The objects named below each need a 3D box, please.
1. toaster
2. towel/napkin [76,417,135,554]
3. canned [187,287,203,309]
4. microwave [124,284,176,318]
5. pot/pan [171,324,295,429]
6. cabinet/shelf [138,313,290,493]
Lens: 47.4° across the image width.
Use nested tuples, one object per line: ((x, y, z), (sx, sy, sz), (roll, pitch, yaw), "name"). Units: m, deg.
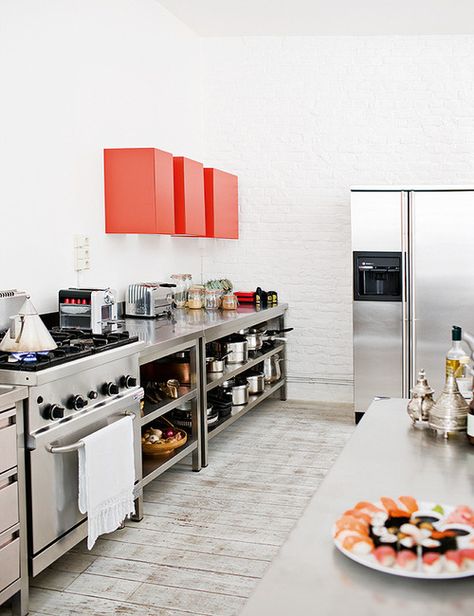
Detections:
((-0.835, 0.009, 3.028), (0.210, 0.256, 0.288), (4, 5, 7), "toaster")
((-0.562, 0.761, 2.340), (0.177, 0.520, 0.260), (3, 7, -25), "towel/napkin")
((-0.364, -0.074, 4.634), (0.129, 0.191, 0.073), (0, 4, -6), "canned")
((-0.666, -0.048, 4.061), (0.215, 0.249, 0.336), (6, 7, 29), "microwave")
((-0.049, 0.535, 4.138), (0.256, 0.429, 0.920), (2, 8, 19), "pot/pan")
((-0.178, 0.578, 4.019), (0.519, 1.031, 2.522), (2, 4, 23), "cabinet/shelf")
